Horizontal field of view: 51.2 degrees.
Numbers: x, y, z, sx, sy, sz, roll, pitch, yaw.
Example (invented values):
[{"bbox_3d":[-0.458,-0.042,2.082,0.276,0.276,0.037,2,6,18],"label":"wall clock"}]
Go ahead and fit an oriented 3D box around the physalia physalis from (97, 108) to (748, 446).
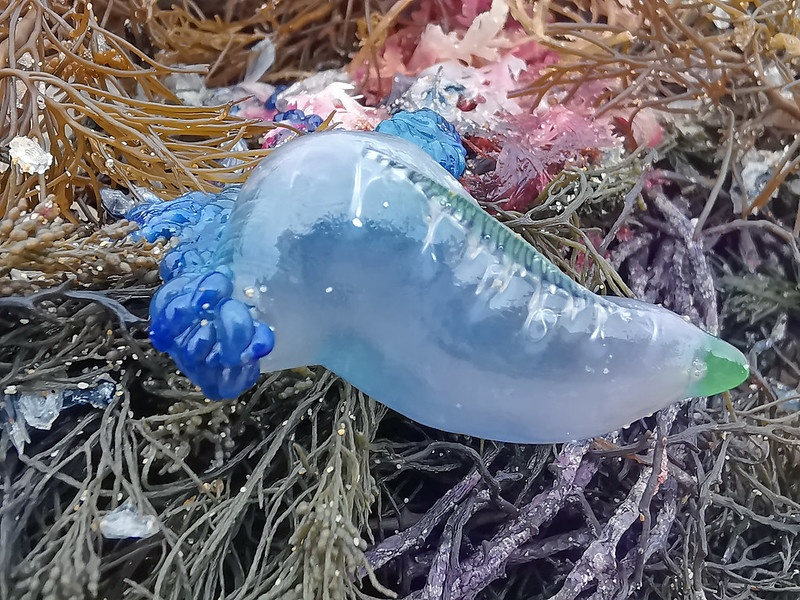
[{"bbox_3d":[0.052,0.053,1.017,0.571,0.213,0.354,19,67,-3],"label":"physalia physalis"}]
